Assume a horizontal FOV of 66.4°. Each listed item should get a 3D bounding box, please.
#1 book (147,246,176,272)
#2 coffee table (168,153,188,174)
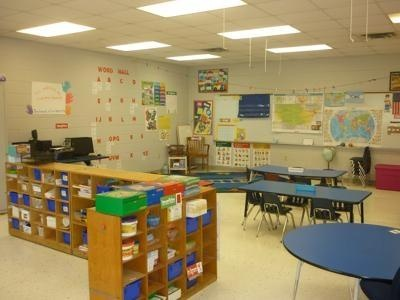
[{"bbox_3d":[-0.543,1.343,3.770,0.058,0.251,0.248,-8,-8,39],"label":"book"},{"bbox_3d":[-0.799,0.505,11.290,0.639,0.649,0.653,2,7,9],"label":"coffee table"}]
